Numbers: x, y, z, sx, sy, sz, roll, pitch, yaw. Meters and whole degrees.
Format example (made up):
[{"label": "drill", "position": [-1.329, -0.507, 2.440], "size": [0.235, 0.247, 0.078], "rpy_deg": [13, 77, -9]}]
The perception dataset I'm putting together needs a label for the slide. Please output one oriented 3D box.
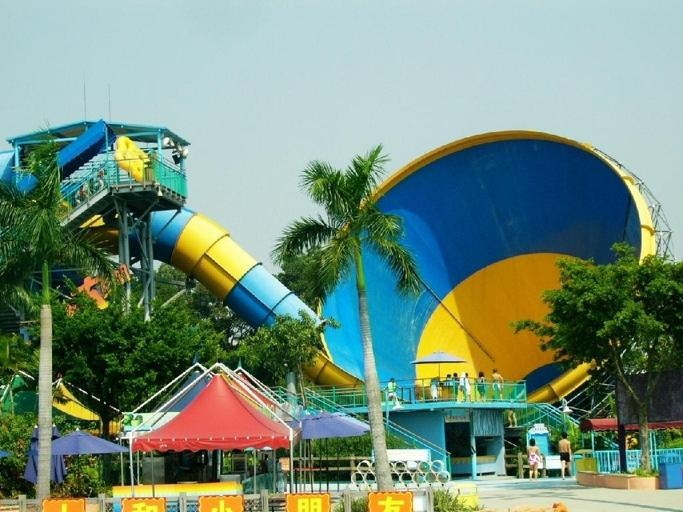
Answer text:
[{"label": "slide", "position": [-5.619, 2.231, 57.835], "size": [12.103, 9.776, 2.354], "rpy_deg": [1, -18, -11]}]
